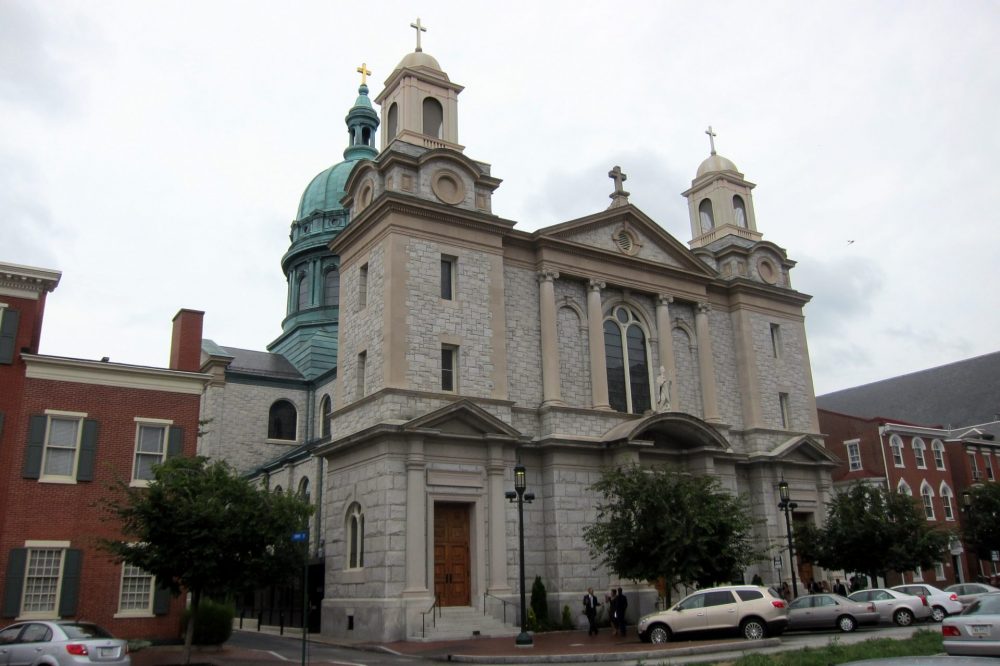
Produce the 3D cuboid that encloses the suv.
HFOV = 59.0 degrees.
[{"bbox_3d":[8.426,11.011,35.379,5.213,1.859,2.342,-5,-21,16],"label":"suv"}]
